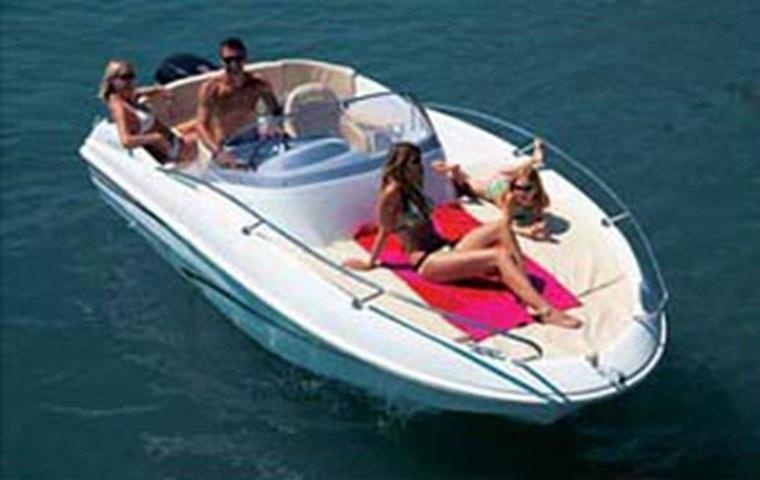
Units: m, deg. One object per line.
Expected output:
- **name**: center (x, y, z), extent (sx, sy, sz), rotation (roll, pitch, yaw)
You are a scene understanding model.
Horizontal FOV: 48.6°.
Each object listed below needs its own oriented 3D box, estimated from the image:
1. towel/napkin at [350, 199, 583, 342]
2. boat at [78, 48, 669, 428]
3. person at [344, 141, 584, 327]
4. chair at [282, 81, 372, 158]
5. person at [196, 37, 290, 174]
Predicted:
- **towel/napkin**: center (0.555, 0.049, 8.448), extent (1.928, 0.347, 2.833), rotation (22, 22, -9)
- **boat**: center (-0.240, 0.166, 8.055), extent (5.054, 1.815, 3.008), rotation (31, 48, 25)
- **person**: center (0.900, -0.144, 7.336), extent (1.084, 1.225, 2.555), rotation (-26, 33, -34)
- **chair**: center (-0.713, -1.277, 8.279), extent (0.603, 0.699, 0.762), rotation (-15, 31, -23)
- **person**: center (-1.320, -1.272, 8.143), extent (0.901, 1.213, 1.000), rotation (-12, 33, -18)
